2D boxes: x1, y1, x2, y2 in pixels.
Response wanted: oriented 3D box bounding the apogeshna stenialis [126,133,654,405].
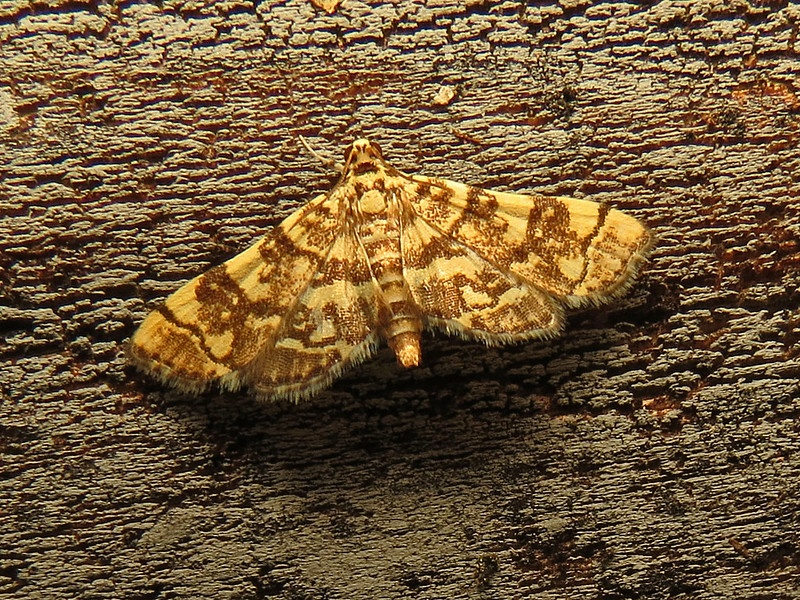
[{"bbox_3d":[-0.078,-0.059,4.289,1.915,0.774,0.675,-12,41,-13],"label":"apogeshna stenialis"}]
